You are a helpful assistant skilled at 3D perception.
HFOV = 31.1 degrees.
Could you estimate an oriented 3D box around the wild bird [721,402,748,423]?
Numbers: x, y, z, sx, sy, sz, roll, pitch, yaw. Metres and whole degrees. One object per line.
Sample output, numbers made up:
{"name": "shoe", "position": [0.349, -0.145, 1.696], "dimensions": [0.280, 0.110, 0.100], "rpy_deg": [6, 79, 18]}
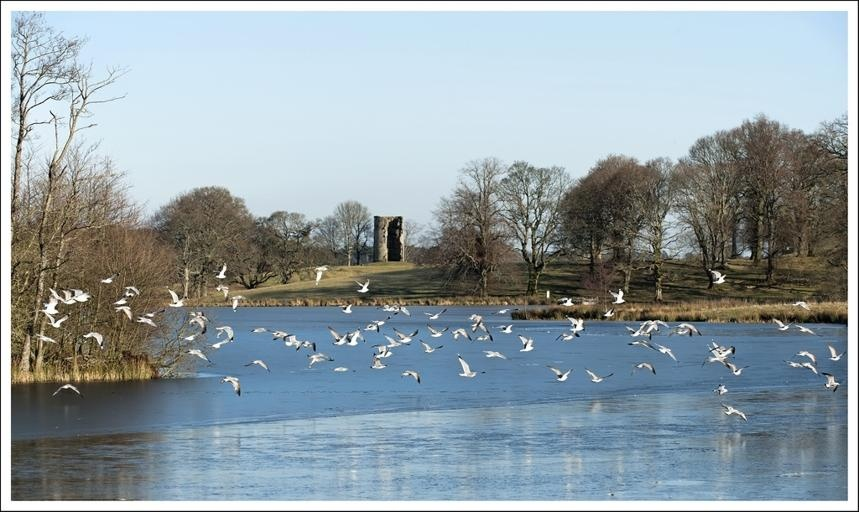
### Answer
{"name": "wild bird", "position": [14.368, 7.304, 72.857], "dimensions": [1.872, 0.647, 0.210], "rpy_deg": [10, -16, 39]}
